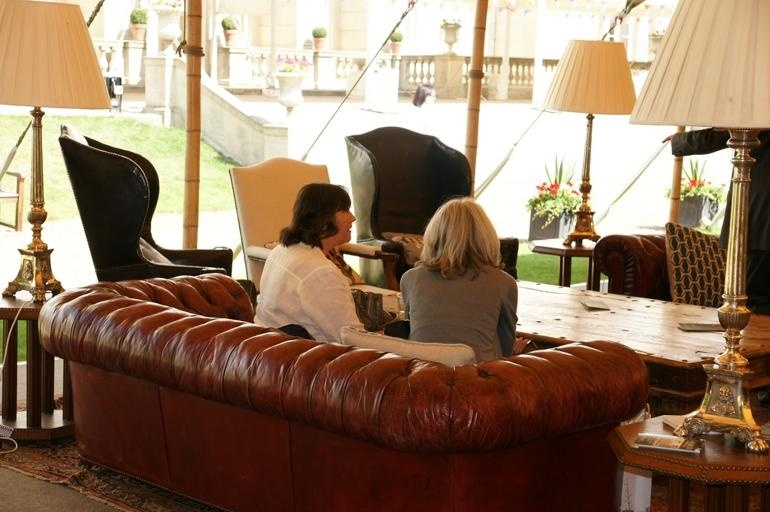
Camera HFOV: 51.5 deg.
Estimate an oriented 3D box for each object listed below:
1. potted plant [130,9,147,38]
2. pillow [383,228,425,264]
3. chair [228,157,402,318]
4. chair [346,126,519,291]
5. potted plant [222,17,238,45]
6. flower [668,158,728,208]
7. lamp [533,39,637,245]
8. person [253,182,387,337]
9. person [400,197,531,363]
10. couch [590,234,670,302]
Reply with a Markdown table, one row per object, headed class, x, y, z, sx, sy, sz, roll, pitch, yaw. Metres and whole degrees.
| class | x | y | z | sx | sy | sz | roll | pitch | yaw |
| --- | --- | --- | --- | --- | --- | --- | --- | --- | --- |
| potted plant | -3.048 | -2.892 | 9.954 | 0.183 | 0.387 | 0.524 | -2 | 14 | -20 |
| pillow | 0.126 | -0.065 | 4.902 | 0.218 | 0.092 | 0.223 | 16 | 15 | 27 |
| chair | -0.377 | 0.115 | 4.878 | 0.810 | 1.417 | 0.982 | -8 | 12 | -41 |
| chair | 0.255 | -0.254 | 5.550 | 1.037 | 1.187 | 1.118 | 5 | 17 | 12 |
| potted plant | -2.341 | -3.431 | 12.121 | 0.228 | 0.399 | 0.380 | 0 | 13 | -13 |
| flower | 3.510 | -0.790 | 8.958 | 0.448 | 0.497 | 0.420 | -6 | 10 | -3 |
| lamp | 1.371 | -0.771 | 5.435 | 0.586 | 1.379 | 0.468 | 7 | 14 | 16 |
| person | -0.275 | 0.101 | 3.488 | 0.448 | 0.794 | 0.555 | -8 | 16 | -21 |
| person | 0.289 | 0.105 | 3.179 | 0.454 | 0.942 | 0.556 | 1 | 7 | 11 |
| couch | 1.541 | 0.058 | 4.983 | 0.392 | 0.510 | 0.449 | 0 | 4 | 18 |
